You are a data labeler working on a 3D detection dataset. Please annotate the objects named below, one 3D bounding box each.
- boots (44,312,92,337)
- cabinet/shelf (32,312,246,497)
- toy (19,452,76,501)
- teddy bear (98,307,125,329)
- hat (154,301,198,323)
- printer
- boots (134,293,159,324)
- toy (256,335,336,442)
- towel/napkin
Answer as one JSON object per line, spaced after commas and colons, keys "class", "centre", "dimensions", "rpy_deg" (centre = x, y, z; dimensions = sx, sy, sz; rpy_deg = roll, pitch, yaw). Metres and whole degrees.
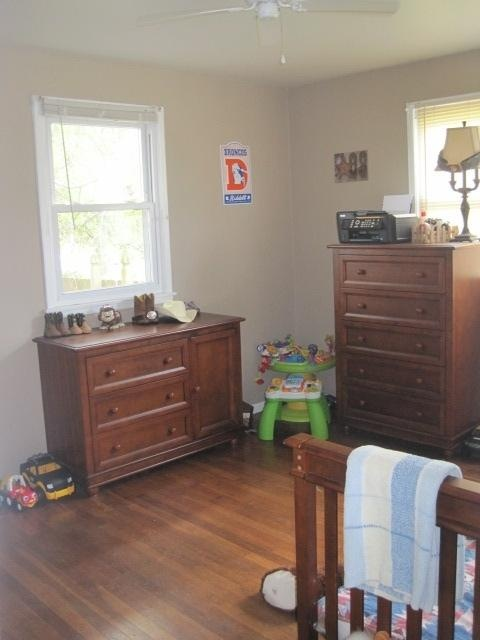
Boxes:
{"class": "boots", "centre": [-1.000, -0.018, 3.052], "dimensions": [0.153, 0.113, 0.218], "rpy_deg": [2, 4, 38]}
{"class": "cabinet/shelf", "centre": [-0.573, 0.456, 3.286], "dimensions": [1.112, 0.797, 0.591], "rpy_deg": [-9, 11, -37]}
{"class": "toy", "centre": [-1.052, 0.823, 2.908], "dimensions": [0.307, 0.165, 0.169], "rpy_deg": [11, 15, 42]}
{"class": "teddy bear", "centre": [-0.773, -0.015, 3.226], "dimensions": [0.125, 0.128, 0.142], "rpy_deg": [5, 18, 18]}
{"class": "hat", "centre": [-0.405, -0.077, 3.419], "dimensions": [0.154, 0.077, 0.197], "rpy_deg": [6, 6, -31]}
{"class": "printer", "centre": [0.895, -0.654, 3.368], "dimensions": [0.291, 0.179, 0.334], "rpy_deg": [-13, 17, -42]}
{"class": "boots", "centre": [-0.636, -0.063, 3.330], "dimensions": [0.156, 0.182, 0.194], "rpy_deg": [-1, 1, -32]}
{"class": "toy", "centre": [0.406, 0.468, 3.810], "dimensions": [0.524, 0.661, 0.590], "rpy_deg": [0, 7, 22]}
{"class": "towel/napkin", "centre": [0.323, 0.437, 1.103], "dimensions": [0.144, 0.342, 0.250], "rpy_deg": [-8, 8, -39]}
